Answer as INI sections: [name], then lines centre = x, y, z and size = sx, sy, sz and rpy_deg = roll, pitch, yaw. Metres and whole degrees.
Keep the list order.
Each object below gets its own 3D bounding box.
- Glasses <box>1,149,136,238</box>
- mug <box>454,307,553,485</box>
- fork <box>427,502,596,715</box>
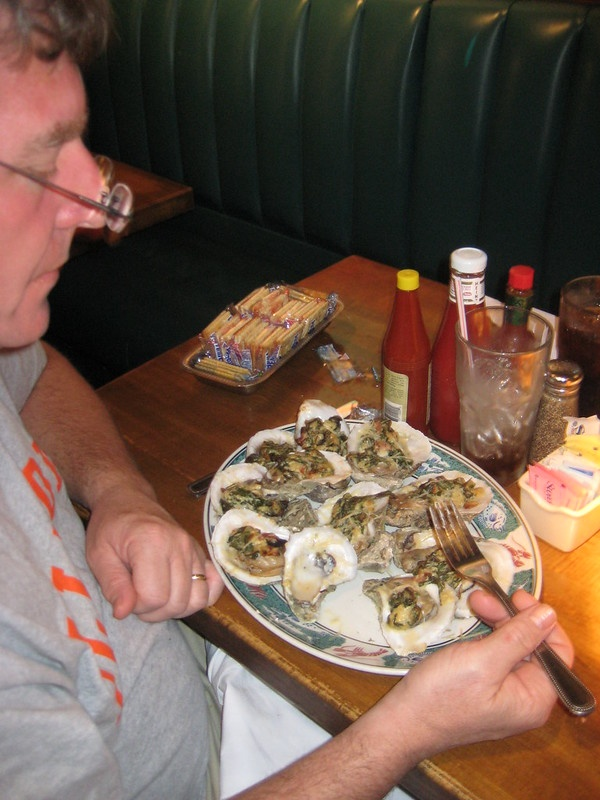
[Glasses]
centre = -0.244, -0.200, 0.743
size = 0.112, 0.038, 0.097
rpy_deg = 21, 27, -31
[mug]
centre = 0.268, 0.007, 0.908
size = 0.133, 0.213, 0.131
rpy_deg = -27, 36, -29
[fork]
centre = 0.196, 0.176, 0.756
size = 0.051, 0.042, 0.362
rpy_deg = -21, 30, -3
